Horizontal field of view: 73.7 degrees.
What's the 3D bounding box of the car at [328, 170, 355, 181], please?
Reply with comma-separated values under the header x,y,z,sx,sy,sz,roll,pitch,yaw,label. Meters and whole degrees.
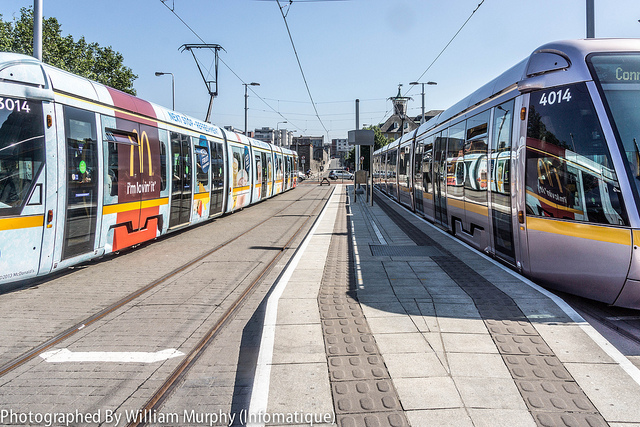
x,y,z,sx,sy,sz,roll,pitch,yaw,label
3.350,-5.856,66.724,2.870,1.523,8.238,1,12,10,car
